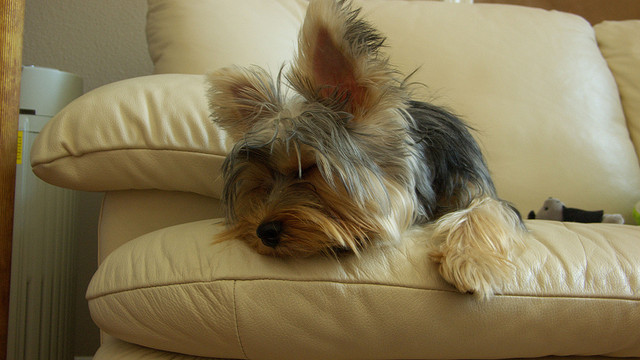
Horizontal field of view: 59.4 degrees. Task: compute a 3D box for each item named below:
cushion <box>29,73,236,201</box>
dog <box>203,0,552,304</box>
[{"bbox_3d":[-1.028,-0.324,3.026,0.998,0.416,0.956,-9,27,-17],"label":"cushion"},{"bbox_3d":[0.317,-0.129,2.822,1.413,1.014,1.475,-18,-27,38],"label":"dog"}]
